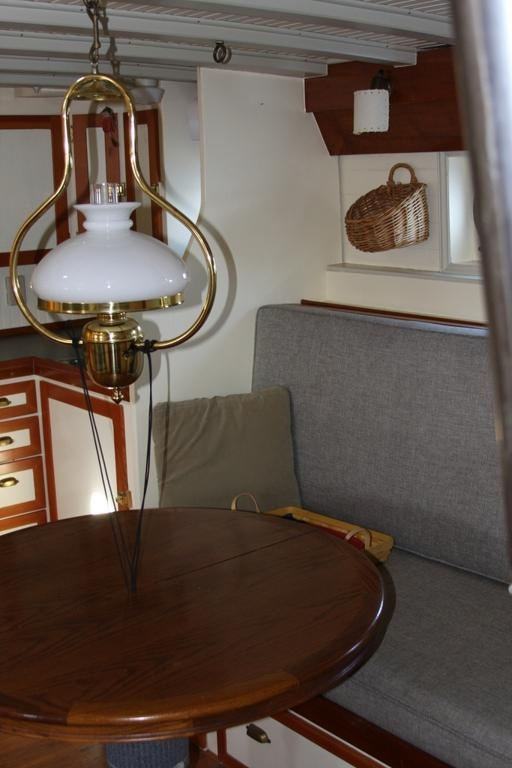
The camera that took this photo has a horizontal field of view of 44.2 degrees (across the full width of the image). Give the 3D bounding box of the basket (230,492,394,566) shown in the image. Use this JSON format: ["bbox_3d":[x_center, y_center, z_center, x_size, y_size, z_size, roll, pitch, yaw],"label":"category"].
[{"bbox_3d":[0.293,0.576,2.480,0.391,0.128,0.398,15,20,38],"label":"basket"}]

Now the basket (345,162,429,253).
[{"bbox_3d":[0.616,-0.861,3.064,0.361,0.406,0.400,-6,15,-22],"label":"basket"}]

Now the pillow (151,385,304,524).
[{"bbox_3d":[-0.114,0.295,2.677,0.567,0.516,0.165,-8,-6,-10],"label":"pillow"}]
